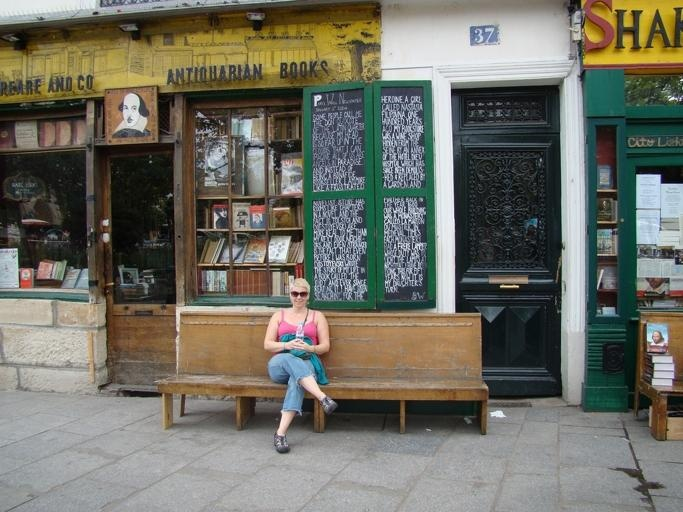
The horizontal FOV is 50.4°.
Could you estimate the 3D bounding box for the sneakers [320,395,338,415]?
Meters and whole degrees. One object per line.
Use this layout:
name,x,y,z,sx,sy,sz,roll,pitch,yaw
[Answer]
sneakers,-0.131,1.515,7.504,0.105,0.116,0.236,41,-13,0

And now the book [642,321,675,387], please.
book,3.460,1.055,7.895,0.266,0.649,0.295,0,2,11

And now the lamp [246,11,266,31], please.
lamp,-1.033,-2.839,8.838,0.235,0.225,0.181,0,10,-1

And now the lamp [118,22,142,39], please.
lamp,-2.631,-2.788,9.089,0.235,0.202,0.152,0,2,12

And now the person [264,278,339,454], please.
person,-0.465,1.086,7.787,0.723,1.696,0.980,-1,2,-5

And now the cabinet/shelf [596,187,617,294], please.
cabinet/shelf,3.081,-0.209,8.479,0.272,1.440,0.113,-1,2,-8

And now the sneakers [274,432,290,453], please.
sneakers,-0.600,1.870,7.353,0.151,0.178,0.101,-1,2,-2
